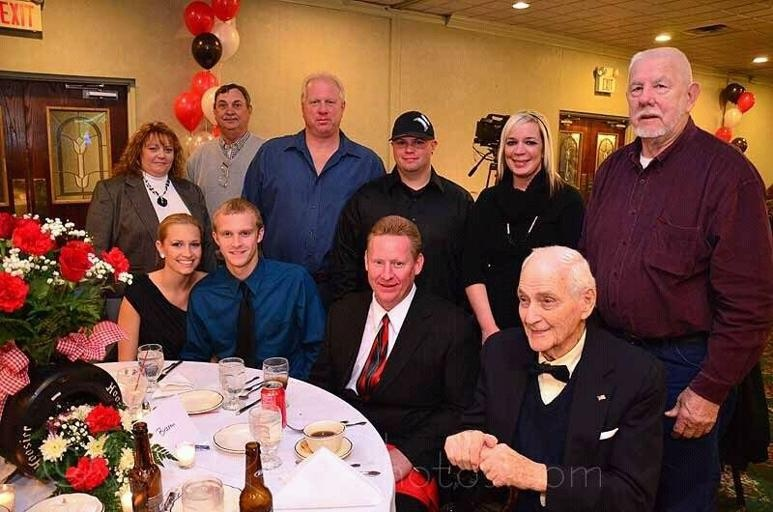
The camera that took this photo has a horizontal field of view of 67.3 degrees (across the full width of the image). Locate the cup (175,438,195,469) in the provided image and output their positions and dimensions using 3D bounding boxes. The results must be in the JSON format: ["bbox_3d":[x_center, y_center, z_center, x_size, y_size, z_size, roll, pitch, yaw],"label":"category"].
[{"bbox_3d":[-0.802,0.806,2.361,0.068,0.102,0.111,0,7,-7],"label":"cup"}]

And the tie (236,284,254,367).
[{"bbox_3d":[-0.837,0.408,3.434,0.115,0.468,0.189,-1,12,-10],"label":"tie"}]

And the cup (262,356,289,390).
[{"bbox_3d":[-0.523,0.563,2.780,0.121,0.161,0.131,1,-3,0],"label":"cup"}]

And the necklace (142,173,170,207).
[{"bbox_3d":[-1.737,-0.484,4.375,0.139,0.250,0.040,-19,-2,-41],"label":"necklace"}]

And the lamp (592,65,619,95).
[{"bbox_3d":[3.919,-3.162,10.451,0.497,0.547,0.150,-7,9,-38],"label":"lamp"}]

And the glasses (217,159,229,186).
[{"bbox_3d":[-1.391,-0.697,4.932,0.103,0.191,0.042,2,-1,20],"label":"glasses"}]

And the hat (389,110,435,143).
[{"bbox_3d":[0.168,-0.854,3.858,0.277,0.186,0.213,2,12,4],"label":"hat"}]
